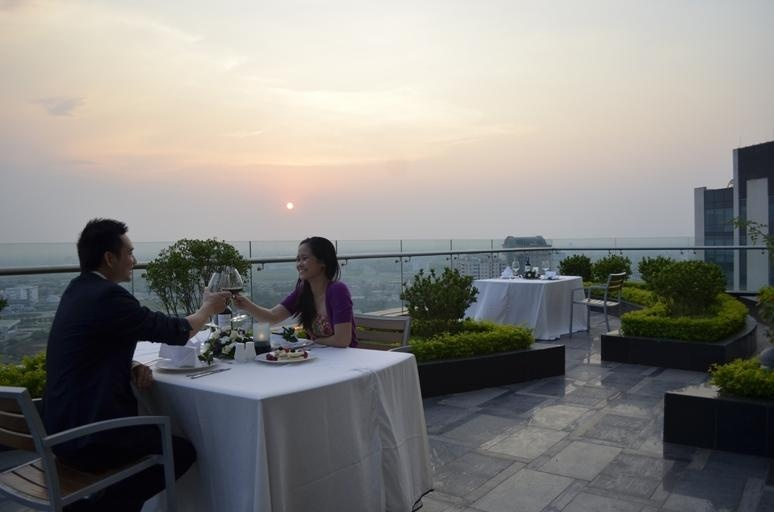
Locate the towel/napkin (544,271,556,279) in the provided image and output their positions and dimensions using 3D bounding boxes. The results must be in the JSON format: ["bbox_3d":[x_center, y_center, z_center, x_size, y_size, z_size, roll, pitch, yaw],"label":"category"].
[{"bbox_3d":[2.579,0.299,8.345,0.128,0.043,0.126,1,30,17],"label":"towel/napkin"}]

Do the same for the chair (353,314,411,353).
[{"bbox_3d":[-0.044,0.684,4.698,0.350,0.478,0.352,-1,-11,12],"label":"chair"}]

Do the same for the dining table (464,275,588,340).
[{"bbox_3d":[2.371,0.698,8.398,1.308,0.654,1.190,0,-2,31],"label":"dining table"}]

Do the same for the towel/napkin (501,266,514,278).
[{"bbox_3d":[1.998,0.261,8.693,0.180,0.173,0.178,2,1,-20],"label":"towel/napkin"}]

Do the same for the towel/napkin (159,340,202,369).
[{"bbox_3d":[-1.379,0.650,3.476,0.196,0.122,0.197,3,-11,-16],"label":"towel/napkin"}]
